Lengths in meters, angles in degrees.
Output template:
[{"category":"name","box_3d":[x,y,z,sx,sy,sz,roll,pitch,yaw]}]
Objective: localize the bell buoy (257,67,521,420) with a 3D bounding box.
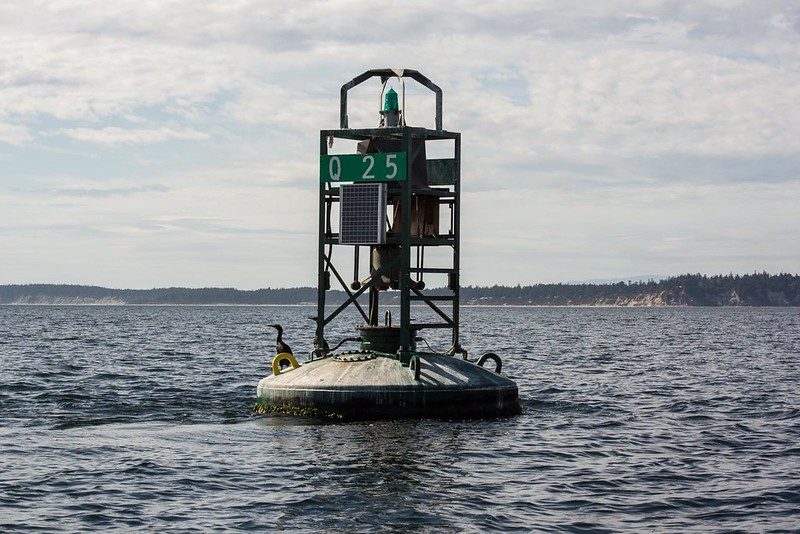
[{"category":"bell buoy","box_3d":[0.321,-1.506,60.229,13.718,13.503,12.613,-4,4,-15]}]
